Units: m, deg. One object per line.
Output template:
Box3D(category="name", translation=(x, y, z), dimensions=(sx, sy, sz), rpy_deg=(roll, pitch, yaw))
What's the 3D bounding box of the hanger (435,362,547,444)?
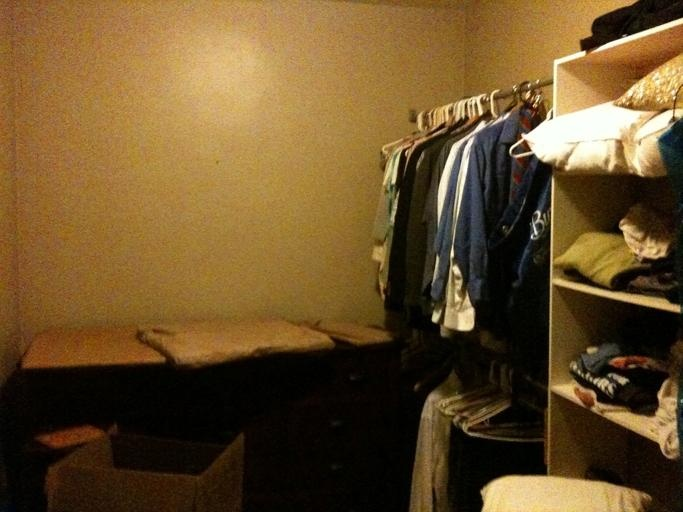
Box3D(category="hanger", translation=(0.531, 0.468, 2.059), dimensions=(0.311, 0.122, 0.257), rpy_deg=(4, -3, -38))
